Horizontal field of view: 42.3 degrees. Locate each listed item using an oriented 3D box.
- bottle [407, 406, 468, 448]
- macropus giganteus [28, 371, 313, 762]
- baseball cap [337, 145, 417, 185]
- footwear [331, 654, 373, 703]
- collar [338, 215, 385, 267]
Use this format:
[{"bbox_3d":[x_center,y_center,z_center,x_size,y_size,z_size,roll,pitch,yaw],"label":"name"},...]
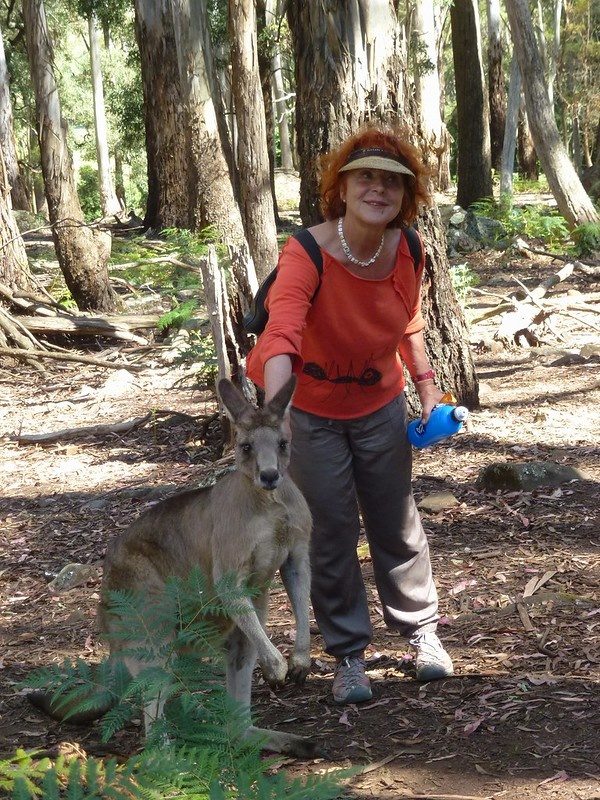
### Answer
[{"bbox_3d":[0.677,0.129,3.853,0.356,0.146,0.162,-27,-19,37],"label":"bottle"},{"bbox_3d":[-0.332,0.681,2.968,1.033,1.506,0.676,-1,13,38],"label":"macropus giganteus"},{"bbox_3d":[0.289,-0.939,3.061,0.280,0.125,0.174,-7,10,5],"label":"baseball cap"},{"bbox_3d":[0.228,1.211,3.321,0.101,0.105,0.256,-1,-7,-2],"label":"footwear"},{"bbox_3d":[0.223,-0.629,3.067,0.151,0.184,0.049,-1,25,6],"label":"collar"}]
